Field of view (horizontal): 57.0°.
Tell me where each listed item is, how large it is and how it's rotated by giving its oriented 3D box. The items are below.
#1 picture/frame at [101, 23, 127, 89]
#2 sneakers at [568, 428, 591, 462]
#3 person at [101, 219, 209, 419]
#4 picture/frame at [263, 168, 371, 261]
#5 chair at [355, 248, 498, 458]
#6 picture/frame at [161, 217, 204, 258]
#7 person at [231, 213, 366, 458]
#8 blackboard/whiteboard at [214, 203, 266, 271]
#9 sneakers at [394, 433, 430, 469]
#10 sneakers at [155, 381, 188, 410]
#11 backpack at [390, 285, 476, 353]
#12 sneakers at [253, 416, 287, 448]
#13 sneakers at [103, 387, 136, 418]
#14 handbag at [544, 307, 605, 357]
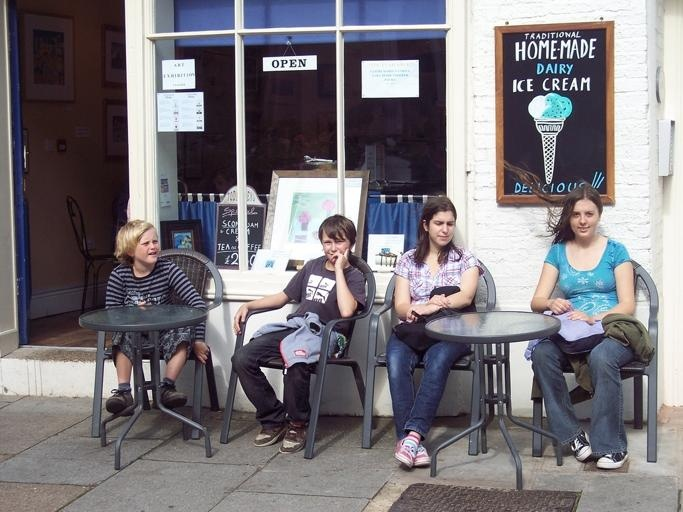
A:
[{"bbox_3d":[-2.677,-2.356,7.457,0.085,0.701,0.328,1,7,21],"label":"picture/frame"},{"bbox_3d":[1.342,1.069,3.573,0.074,0.086,0.222,-45,-5,6],"label":"sneakers"},{"bbox_3d":[-1.215,0.354,4.125,0.667,1.116,0.808,-2,11,-18],"label":"person"},{"bbox_3d":[-0.144,-0.309,4.464,0.621,0.550,0.043,2,1,22],"label":"picture/frame"},{"bbox_3d":[0.524,0.708,4.044,0.875,1.232,0.868,-4,-15,25],"label":"chair"},{"bbox_3d":[-1.195,-0.145,4.751,0.290,0.399,0.040,-1,6,-7],"label":"picture/frame"},{"bbox_3d":[-0.257,0.463,3.997,0.856,1.417,0.528,-2,6,-6],"label":"person"},{"bbox_3d":[-0.734,-0.145,4.687,0.479,0.618,0.087,0,-1,19],"label":"blackboard/whiteboard"},{"bbox_3d":[0.389,1.086,3.538,0.130,0.101,0.242,16,-2,-17],"label":"sneakers"},{"bbox_3d":[-1.054,0.872,3.935,0.093,0.118,0.246,3,-5,-44],"label":"sneakers"},{"bbox_3d":[0.543,0.352,3.864,0.341,0.188,0.455,-3,14,40],"label":"backpack"},{"bbox_3d":[-0.437,1.119,4.013,0.094,0.126,0.288,0,-2,20],"label":"sneakers"},{"bbox_3d":[-1.357,0.893,3.860,0.095,0.125,0.286,-1,-14,6],"label":"sneakers"},{"bbox_3d":[1.334,0.448,3.571,0.240,0.091,0.248,-5,21,1],"label":"handbag"}]
